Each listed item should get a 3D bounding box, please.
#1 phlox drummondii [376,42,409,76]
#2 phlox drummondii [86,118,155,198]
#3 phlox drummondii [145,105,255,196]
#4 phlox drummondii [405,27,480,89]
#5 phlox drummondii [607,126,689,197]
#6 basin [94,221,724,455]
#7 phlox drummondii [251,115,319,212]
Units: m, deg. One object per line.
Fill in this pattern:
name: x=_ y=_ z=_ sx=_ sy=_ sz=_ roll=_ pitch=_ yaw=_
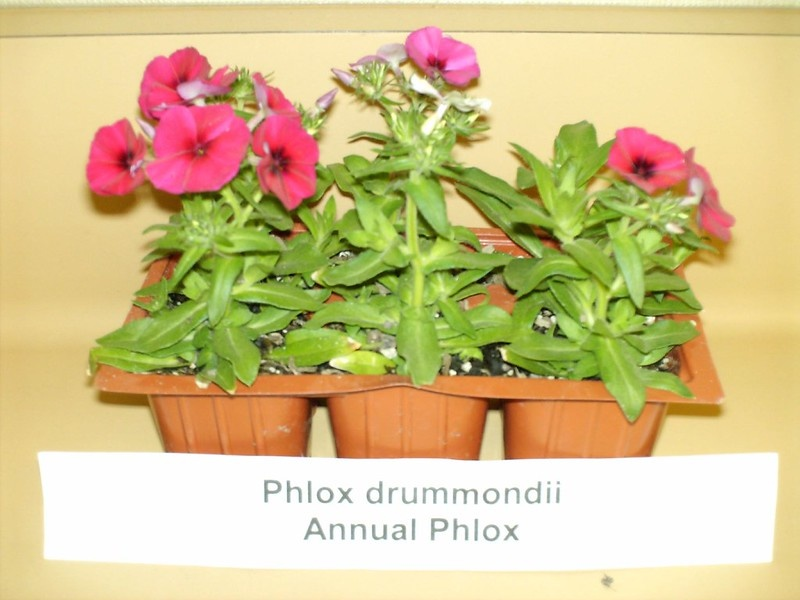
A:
phlox drummondii: x=-0.019 y=-0.461 z=1.312 sx=0.058 sy=0.068 sz=0.029 roll=-9 pitch=20 yaw=9
phlox drummondii: x=-0.512 y=-0.256 z=1.237 sx=0.102 sy=0.137 sz=0.144 roll=2 pitch=-5 yaw=-21
phlox drummondii: x=-0.346 y=-0.259 z=1.158 sx=0.142 sy=0.155 sz=0.128 roll=-5 pitch=-7 yaw=43
phlox drummondii: x=0.081 y=-0.464 z=1.326 sx=0.145 sy=0.106 sz=0.056 roll=4 pitch=-10 yaw=-33
phlox drummondii: x=0.447 y=-0.263 z=1.233 sx=0.132 sy=0.117 sz=0.082 roll=-2 pitch=-5 yaw=18
basin: x=0.024 y=0.083 z=1.388 sx=1.172 sy=0.497 sz=0.325 roll=0 pitch=-5 yaw=0
phlox drummondii: x=-0.203 y=-0.251 z=1.184 sx=0.107 sy=0.188 sz=0.103 roll=2 pitch=-5 yaw=-24
